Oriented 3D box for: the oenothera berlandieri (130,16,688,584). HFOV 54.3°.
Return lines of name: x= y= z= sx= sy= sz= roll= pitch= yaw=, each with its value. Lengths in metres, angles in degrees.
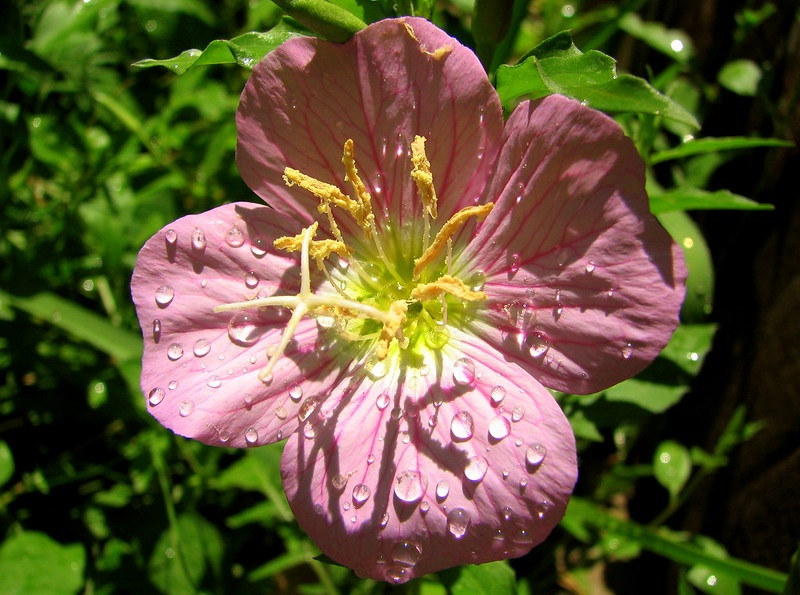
oenothera berlandieri: x=-0.007 y=-0.005 z=1.838 sx=1.173 sy=0.529 sz=1.129 roll=35 pitch=71 yaw=13
